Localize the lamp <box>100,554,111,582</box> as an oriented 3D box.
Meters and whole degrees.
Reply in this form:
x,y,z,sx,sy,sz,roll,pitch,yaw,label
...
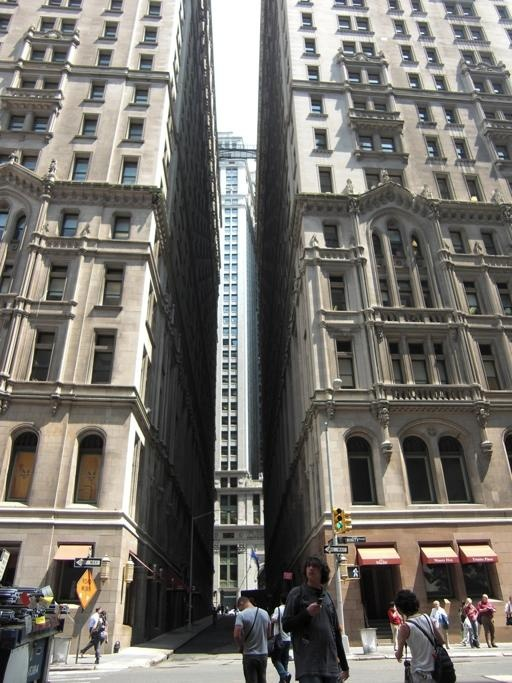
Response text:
x,y,z,sx,sy,sz,roll,pitch,yaw,label
-7.844,11.823,24.686,0.437,1.304,0.812,-5,-29,7,lamp

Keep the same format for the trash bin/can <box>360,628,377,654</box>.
x,y,z,sx,sy,sz,roll,pitch,yaw,label
5.241,14.084,22.361,0.571,0.979,0.871,-14,-31,21,trash bin/can

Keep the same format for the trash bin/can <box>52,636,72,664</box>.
x,y,z,sx,sy,sz,roll,pitch,yaw,label
-7.716,12.213,18.822,0.556,0.877,0.602,7,-30,-15,trash bin/can
